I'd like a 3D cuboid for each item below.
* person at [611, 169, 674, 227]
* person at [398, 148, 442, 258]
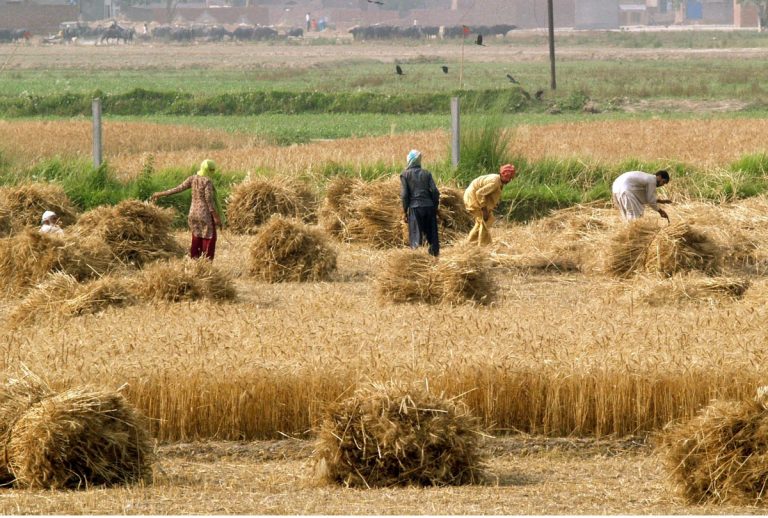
[{"bbox_3d":[6.066,-1.506,33.595,1.312,1.521,1.045,-12,41,-11],"label":"person"},{"bbox_3d":[0.782,-1.283,32.775,0.828,2.317,0.722,2,12,23],"label":"person"}]
